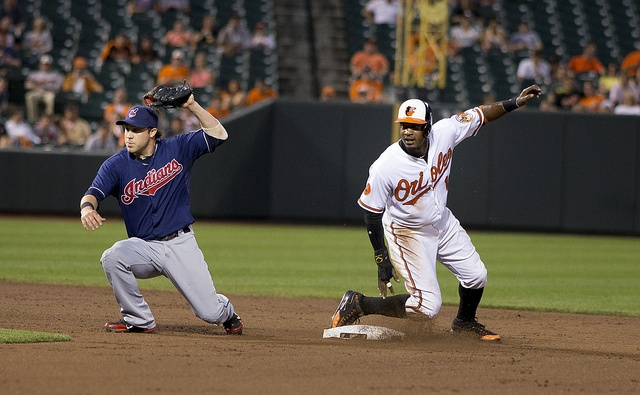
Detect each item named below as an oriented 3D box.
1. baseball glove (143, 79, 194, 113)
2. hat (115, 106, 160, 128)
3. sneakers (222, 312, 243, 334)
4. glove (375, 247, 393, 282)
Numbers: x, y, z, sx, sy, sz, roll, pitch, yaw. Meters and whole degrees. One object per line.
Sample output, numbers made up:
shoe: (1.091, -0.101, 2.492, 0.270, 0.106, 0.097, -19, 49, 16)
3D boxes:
baseball glove: (-2.265, -1.502, 15.195, 0.729, 0.419, 0.294, 0, 8, -6)
hat: (-2.676, -1.165, 15.193, 0.471, 0.222, 0.327, 7, 1, -19)
sneakers: (-1.306, 1.929, 15.467, 0.166, 0.190, 0.444, -1, 6, 5)
glove: (0.984, 1.005, 15.398, 0.291, 0.512, 0.185, 1, 8, 2)
